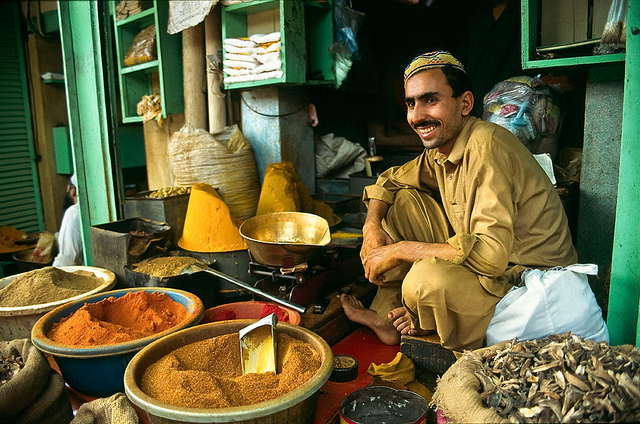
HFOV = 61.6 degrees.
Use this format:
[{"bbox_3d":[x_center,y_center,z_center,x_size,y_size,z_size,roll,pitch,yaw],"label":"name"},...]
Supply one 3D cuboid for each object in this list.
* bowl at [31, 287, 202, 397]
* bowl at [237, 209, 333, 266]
[{"bbox_3d":[-1.533,0.889,3.960,0.910,0.428,0.883,4,13,-1],"label":"bowl"},{"bbox_3d":[-0.298,0.268,4.604,0.725,0.325,0.768,2,21,-1],"label":"bowl"}]
